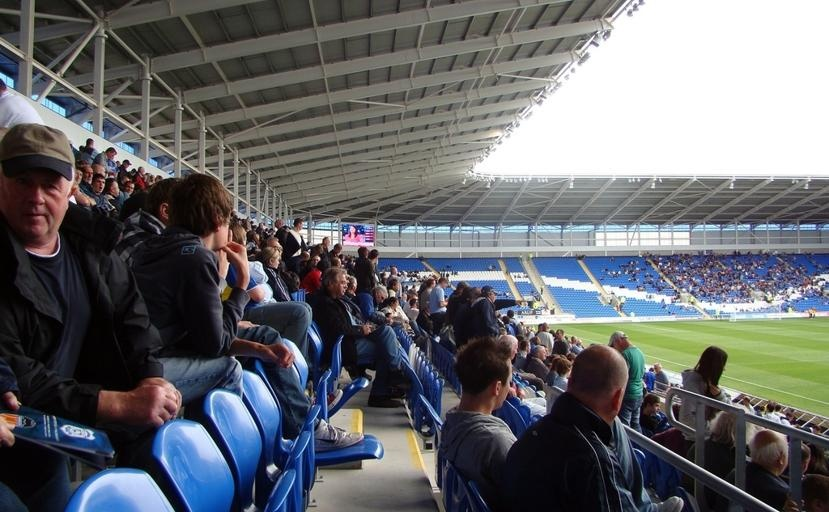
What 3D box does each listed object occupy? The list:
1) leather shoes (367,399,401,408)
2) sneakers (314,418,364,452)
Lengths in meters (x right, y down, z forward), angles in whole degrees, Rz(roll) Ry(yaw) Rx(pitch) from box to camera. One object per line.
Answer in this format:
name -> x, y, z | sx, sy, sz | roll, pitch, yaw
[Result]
leather shoes -> -0.299, 1.414, 5.443 | 0.346, 0.108, 0.105 | -1, -9, -2
sneakers -> -0.492, 1.141, 3.607 | 0.321, 0.173, 0.179 | 1, -5, -8
